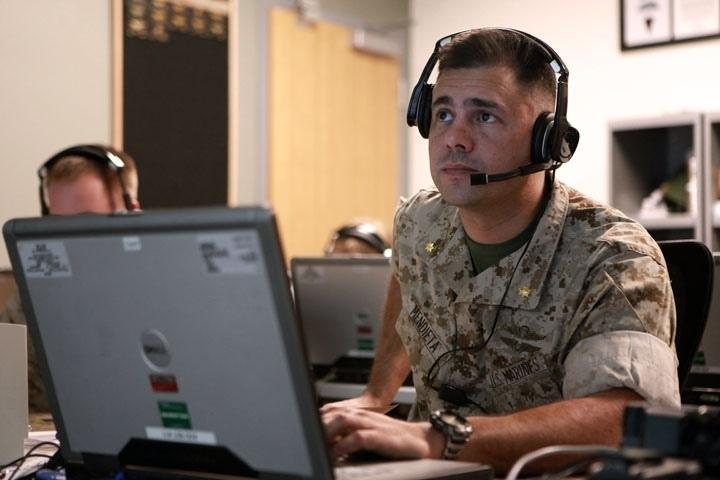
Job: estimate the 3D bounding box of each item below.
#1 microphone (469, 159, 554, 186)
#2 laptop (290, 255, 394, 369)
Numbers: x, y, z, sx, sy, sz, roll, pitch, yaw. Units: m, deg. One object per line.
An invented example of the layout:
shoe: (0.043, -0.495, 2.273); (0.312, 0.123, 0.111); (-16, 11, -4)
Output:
microphone: (0.386, -0.172, 1.952); (0.131, 0.030, 0.089); (-13, 6, -5)
laptop: (-0.012, 0.209, 2.970); (0.487, 0.447, 0.381); (0, 15, 4)
